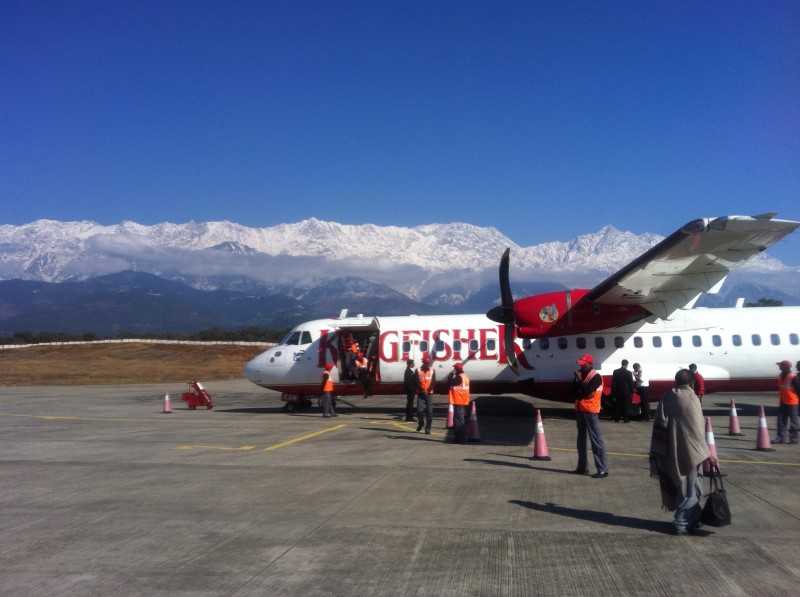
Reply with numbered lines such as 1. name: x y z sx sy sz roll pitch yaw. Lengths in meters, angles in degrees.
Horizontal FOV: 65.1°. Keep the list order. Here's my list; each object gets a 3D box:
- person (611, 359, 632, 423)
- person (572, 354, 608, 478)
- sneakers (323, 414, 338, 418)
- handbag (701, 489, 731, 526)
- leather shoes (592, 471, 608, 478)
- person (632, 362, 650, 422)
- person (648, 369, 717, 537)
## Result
1. person: 6.430 2.695 18.313 0.601 1.786 0.643 -2 -5 27
2. person: 3.824 2.289 12.706 0.634 2.292 1.545 -2 -4 17
3. sneakers: -2.318 3.809 20.446 0.465 0.147 0.135 -4 -6 1
4. handbag: 4.638 3.066 9.227 0.411 0.479 0.425 11 -6 -17
5. leather shoes: 3.817 3.331 12.035 0.261 0.136 0.211 -1 -3 16
6. person: 7.134 2.764 18.659 0.441 1.689 0.408 -2 -4 19
7. person: 4.127 2.262 9.322 0.828 2.411 0.442 -2 -4 20
